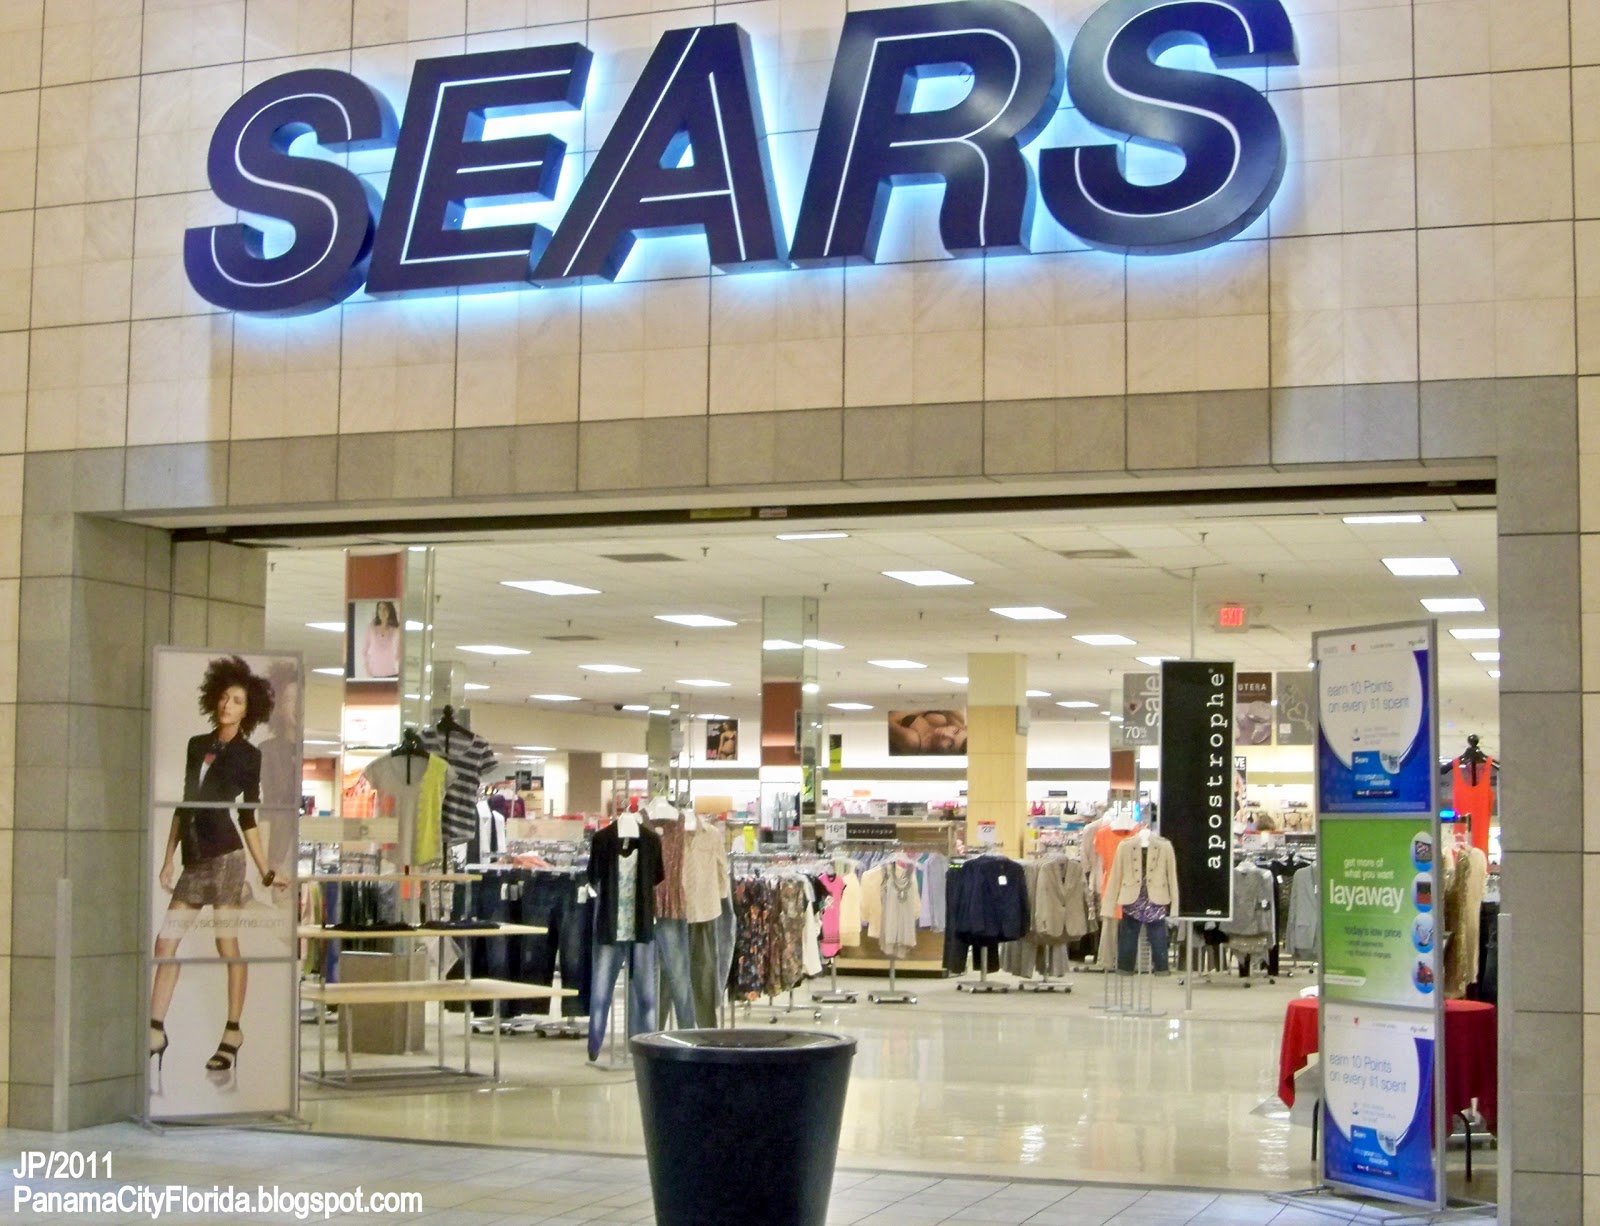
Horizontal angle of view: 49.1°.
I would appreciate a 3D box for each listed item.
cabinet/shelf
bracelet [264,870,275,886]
[{"bbox_3d":[-2.576,2.588,11.460,1.863,1.078,1.235,5,-7,-43],"label":"cabinet/shelf"},{"bbox_3d":[-2.846,1.405,9.384,0.043,0.062,0.141,1,-12,-18],"label":"bracelet"}]
